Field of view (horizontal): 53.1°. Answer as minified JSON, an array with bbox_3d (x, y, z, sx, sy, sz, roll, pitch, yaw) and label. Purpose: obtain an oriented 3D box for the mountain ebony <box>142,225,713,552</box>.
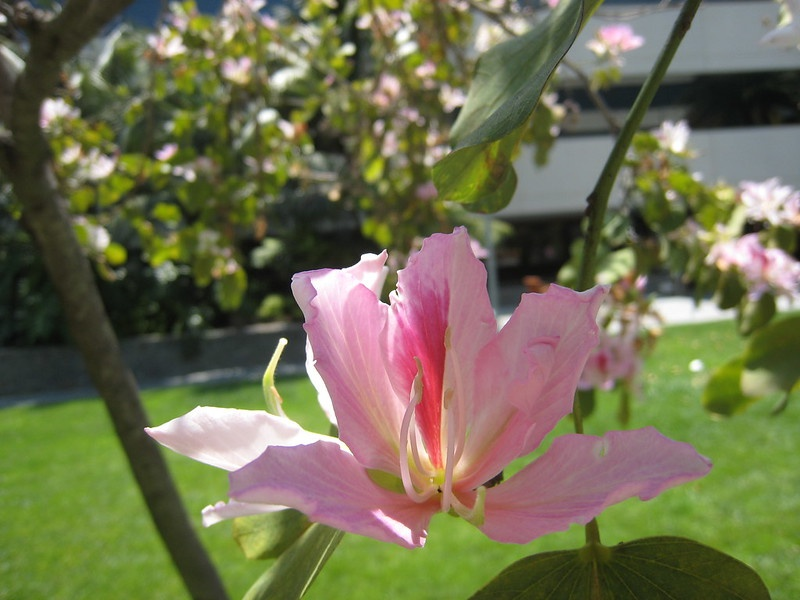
[{"bbox_3d":[0.020,0.088,0.811,0.546,0.300,0.163,-4,12,0],"label":"mountain ebony"}]
